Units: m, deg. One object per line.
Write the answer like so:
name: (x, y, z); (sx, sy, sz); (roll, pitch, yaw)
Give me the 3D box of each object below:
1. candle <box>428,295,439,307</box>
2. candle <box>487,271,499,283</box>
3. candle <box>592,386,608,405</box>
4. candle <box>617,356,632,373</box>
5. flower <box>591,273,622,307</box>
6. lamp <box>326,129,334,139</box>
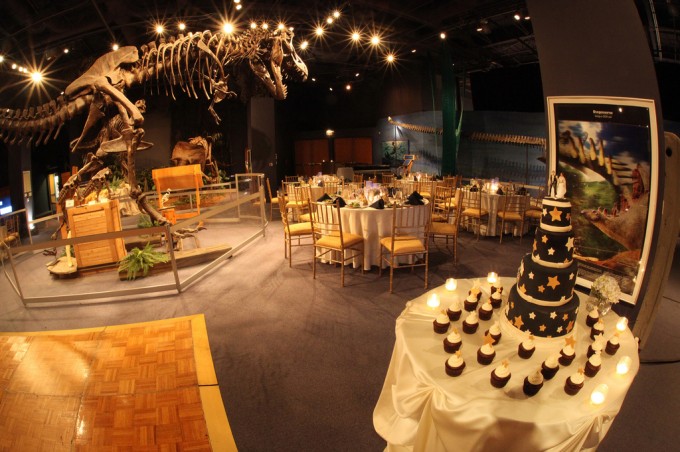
candle: (1.052, 0.842, 4.777); (0.104, 0.114, 0.106); (-1, -5, 8)
candle: (1.824, 0.609, 5.112); (0.155, 0.147, 0.191); (-3, 2, 16)
candle: (2.431, 1.573, 3.996); (0.173, 0.152, 0.076); (-11, 13, -32)
candle: (2.787, 1.347, 4.172); (0.186, 0.159, 0.058); (-9, 12, -23)
flower: (2.887, 0.657, 4.666); (0.284, 0.210, 0.384); (0, 13, 5)
lamp: (-0.419, -3.979, 18.444); (0.338, 0.414, 0.353); (-3, 24, -7)
